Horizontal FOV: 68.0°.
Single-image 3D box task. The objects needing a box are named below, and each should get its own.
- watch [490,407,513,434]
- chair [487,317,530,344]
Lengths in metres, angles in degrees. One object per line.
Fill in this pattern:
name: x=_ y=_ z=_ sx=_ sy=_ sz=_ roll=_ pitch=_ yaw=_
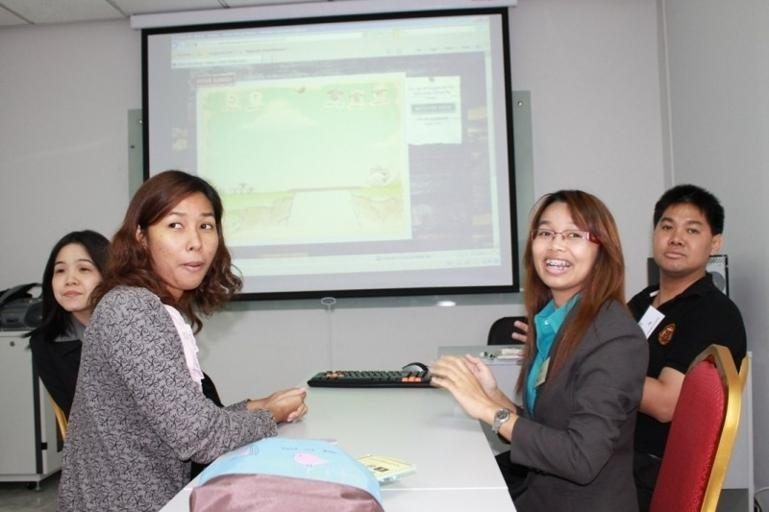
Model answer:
watch: x=0.422 y=0.582 z=2.061 sx=0.053 sy=0.076 sz=0.085 roll=12 pitch=47 yaw=41
chair: x=0.796 y=0.481 z=3.672 sx=0.192 sy=0.244 sz=0.204 roll=-1 pitch=-4 yaw=5
